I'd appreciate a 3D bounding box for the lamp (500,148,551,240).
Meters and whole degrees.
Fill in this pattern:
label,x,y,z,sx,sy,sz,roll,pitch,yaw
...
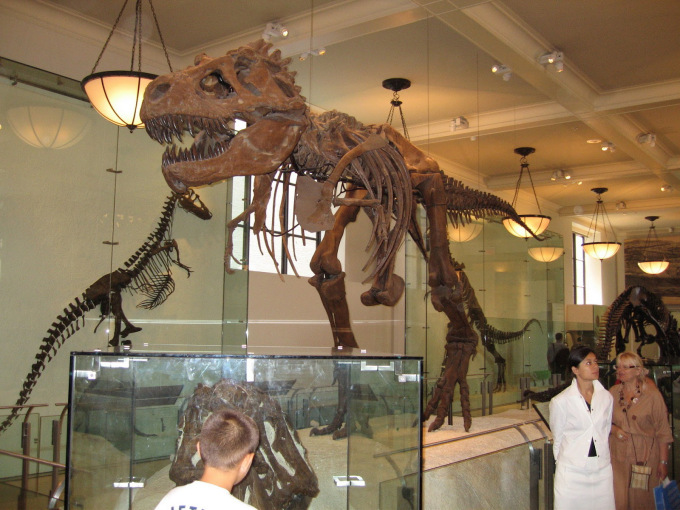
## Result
label,x,y,z,sx,sy,sz,roll,pitch,yaw
lamp,2.111,-0.707,6.632,0.512,1.061,0.273,3,-11,-20
